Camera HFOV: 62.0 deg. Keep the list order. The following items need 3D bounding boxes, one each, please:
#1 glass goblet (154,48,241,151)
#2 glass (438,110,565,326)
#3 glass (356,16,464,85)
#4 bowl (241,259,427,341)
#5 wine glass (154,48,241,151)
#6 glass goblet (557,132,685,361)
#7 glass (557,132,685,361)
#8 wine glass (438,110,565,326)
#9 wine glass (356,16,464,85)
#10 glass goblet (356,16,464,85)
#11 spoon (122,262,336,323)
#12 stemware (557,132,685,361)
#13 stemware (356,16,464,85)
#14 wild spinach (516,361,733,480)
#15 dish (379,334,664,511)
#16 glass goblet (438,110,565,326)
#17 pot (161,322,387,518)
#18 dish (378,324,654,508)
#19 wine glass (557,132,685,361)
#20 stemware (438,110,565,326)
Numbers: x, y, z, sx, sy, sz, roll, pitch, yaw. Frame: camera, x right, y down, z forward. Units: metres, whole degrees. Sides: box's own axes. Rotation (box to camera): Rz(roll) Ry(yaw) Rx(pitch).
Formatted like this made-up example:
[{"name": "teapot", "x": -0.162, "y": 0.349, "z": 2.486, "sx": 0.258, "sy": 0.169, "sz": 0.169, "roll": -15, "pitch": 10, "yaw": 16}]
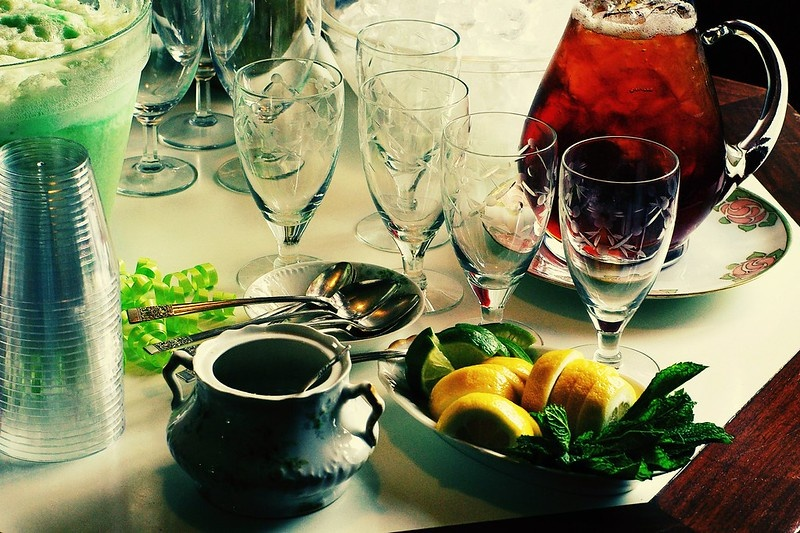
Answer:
[{"name": "glass goblet", "x": -0.272, "y": -0.224, "z": 0.952, "sx": 0.146, "sy": 0.154, "sz": 0.143, "roll": 2, "pitch": 27, "yaw": -7}, {"name": "glass", "x": 0.080, "y": -0.068, "z": 0.614, "sx": 0.100, "sy": 0.142, "sz": 0.128, "roll": 2, "pitch": 30, "yaw": -5}, {"name": "glass", "x": 0.007, "y": -0.257, "z": 0.792, "sx": 0.122, "sy": 0.119, "sz": 0.119, "roll": -1, "pitch": 26, "yaw": -3}, {"name": "bowl", "x": -0.053, "y": 0.027, "z": 0.608, "sx": 0.101, "sy": 0.022, "sz": 0.095, "roll": 8, "pitch": 28, "yaw": -4}, {"name": "wine glass", "x": -0.266, "y": -0.224, "z": 0.952, "sx": 0.146, "sy": 0.154, "sz": 0.143, "roll": 2, "pitch": 27, "yaw": -7}, {"name": "glass goblet", "x": 0.174, "y": -0.014, "z": 0.577, "sx": 0.096, "sy": 0.180, "sz": 0.100, "roll": 12, "pitch": 31, "yaw": 12}, {"name": "glass", "x": 0.174, "y": -0.014, "z": 0.577, "sx": 0.096, "sy": 0.180, "sz": 0.100, "roll": 12, "pitch": 31, "yaw": 12}, {"name": "wine glass", "x": 0.080, "y": -0.068, "z": 0.614, "sx": 0.100, "sy": 0.142, "sz": 0.128, "roll": 2, "pitch": 30, "yaw": -5}, {"name": "wine glass", "x": 0.007, "y": -0.261, "z": 0.794, "sx": 0.122, "sy": 0.119, "sz": 0.119, "roll": -1, "pitch": 26, "yaw": -3}, {"name": "glass goblet", "x": 0.013, "y": -0.244, "z": 0.804, "sx": 0.122, "sy": 0.119, "sz": 0.119, "roll": -1, "pitch": 26, "yaw": -3}, {"name": "spoon", "x": -0.139, "y": 0.018, "z": 0.587, "sx": 0.196, "sy": 0.016, "sz": 0.057, "roll": -3, "pitch": 40, "yaw": -25}, {"name": "stemware", "x": 0.174, "y": -0.014, "z": 0.577, "sx": 0.096, "sy": 0.180, "sz": 0.100, "roll": 12, "pitch": 31, "yaw": 12}, {"name": "stemware", "x": 0.004, "y": -0.260, "z": 0.797, "sx": 0.122, "sy": 0.119, "sz": 0.119, "roll": -1, "pitch": 26, "yaw": -3}, {"name": "wild spinach", "x": 0.159, "y": 0.090, "z": 0.459, "sx": 0.105, "sy": 0.042, "sz": 0.103, "roll": -1, "pitch": -5, "yaw": 11}, {"name": "dish", "x": 0.094, "y": 0.117, "z": 0.489, "sx": 0.162, "sy": 0.030, "sz": 0.136, "roll": 4, "pitch": 25, "yaw": -18}, {"name": "glass goblet", "x": 0.080, "y": -0.068, "z": 0.614, "sx": 0.100, "sy": 0.142, "sz": 0.128, "roll": 2, "pitch": 30, "yaw": -5}, {"name": "pot", "x": -0.088, "y": 0.108, "z": 0.494, "sx": 0.160, "sy": 0.088, "sz": 0.133, "roll": 7, "pitch": 36, "yaw": 6}, {"name": "dish", "x": 0.078, "y": 0.105, "z": 0.480, "sx": 0.165, "sy": 0.028, "sz": 0.132, "roll": 10, "pitch": 22, "yaw": -2}, {"name": "wine glass", "x": 0.174, "y": -0.014, "z": 0.577, "sx": 0.096, "sy": 0.180, "sz": 0.100, "roll": 12, "pitch": 31, "yaw": 12}, {"name": "stemware", "x": 0.080, "y": -0.068, "z": 0.614, "sx": 0.100, "sy": 0.142, "sz": 0.128, "roll": 2, "pitch": 30, "yaw": -5}]
